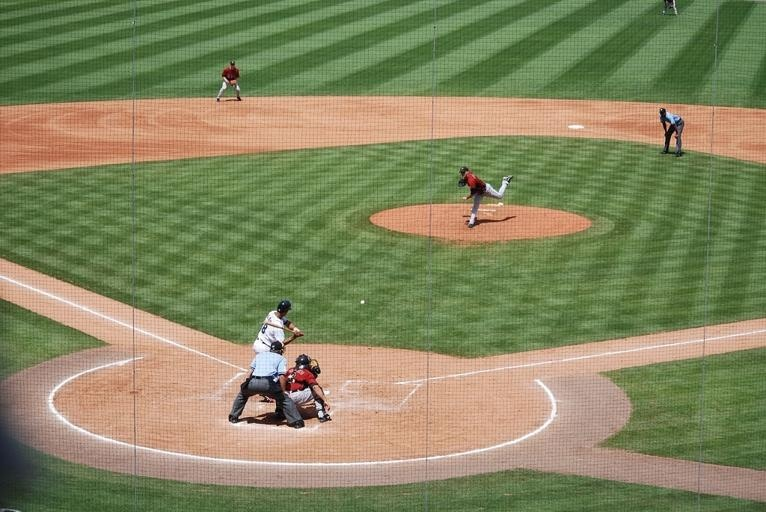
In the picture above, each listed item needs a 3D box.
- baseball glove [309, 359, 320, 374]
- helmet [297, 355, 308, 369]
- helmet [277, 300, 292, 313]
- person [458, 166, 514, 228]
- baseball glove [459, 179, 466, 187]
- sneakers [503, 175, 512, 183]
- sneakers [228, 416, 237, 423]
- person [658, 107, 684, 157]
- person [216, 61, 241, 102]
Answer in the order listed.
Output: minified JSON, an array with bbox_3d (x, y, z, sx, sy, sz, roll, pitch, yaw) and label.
[{"bbox_3d":[-1.514,2.418,26.769,0.179,0.319,0.374,-12,-1,-15],"label":"baseball glove"},{"bbox_3d":[-1.727,2.280,26.338,0.224,0.244,0.280,4,20,3],"label":"helmet"},{"bbox_3d":[-2.210,1.097,27.164,0.245,0.242,0.324,12,33,10],"label":"helmet"},{"bbox_3d":[2.647,-1.597,32.888,1.077,1.672,1.585,7,9,26],"label":"person"},{"bbox_3d":[2.102,-1.985,32.398,0.154,0.184,0.179,-3,-9,15],"label":"baseball glove"},{"bbox_3d":[3.384,-2.145,33.341,0.214,0.154,0.475,15,3,-12],"label":"sneakers"},{"bbox_3d":[-3.240,3.533,26.436,0.209,0.125,0.089,-2,23,-4],"label":"sneakers"},{"bbox_3d":[8.831,-3.820,37.227,0.751,1.423,2.966,5,8,13],"label":"person"},{"bbox_3d":[-5.031,-5.771,40.009,0.839,1.336,1.943,2,8,-7],"label":"person"}]
